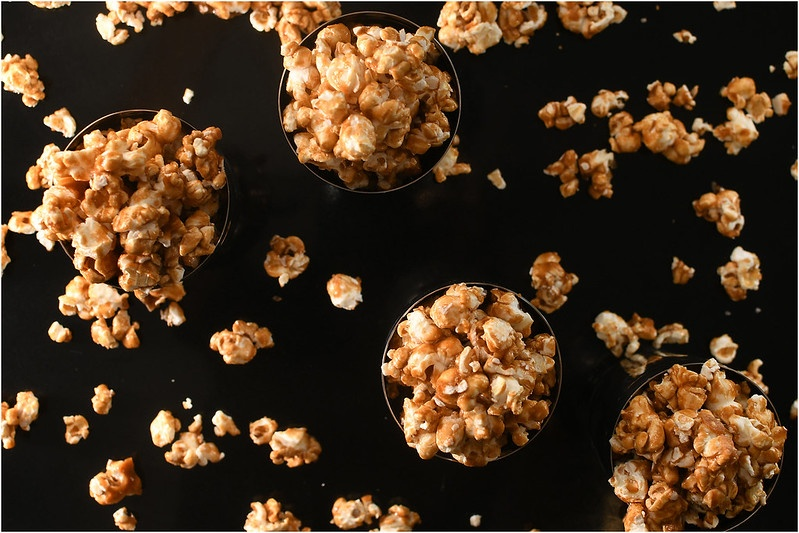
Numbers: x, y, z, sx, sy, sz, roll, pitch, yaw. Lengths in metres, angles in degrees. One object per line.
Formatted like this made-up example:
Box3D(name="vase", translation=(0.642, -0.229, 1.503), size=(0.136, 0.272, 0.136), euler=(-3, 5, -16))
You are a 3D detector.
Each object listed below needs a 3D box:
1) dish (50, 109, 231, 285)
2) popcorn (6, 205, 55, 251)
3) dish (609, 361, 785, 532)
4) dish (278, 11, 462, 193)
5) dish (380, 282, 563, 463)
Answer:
Box3D(name="dish", translation=(-0.577, -0.190, 2.104), size=(0.380, 0.268, 0.394), euler=(3, 80, 2))
Box3D(name="popcorn", translation=(-0.857, -0.090, 2.127), size=(0.107, 0.034, 0.126), euler=(-4, 94, -11))
Box3D(name="dish", translation=(0.673, 0.366, 2.167), size=(0.336, 0.209, 0.396), euler=(30, 99, 3))
Box3D(name="dish", translation=(-0.067, -0.364, 2.056), size=(0.401, 0.259, 0.382), euler=(-26, 80, -3))
Box3D(name="dish", translation=(0.159, 0.230, 2.025), size=(0.399, 0.155, 0.387), euler=(-27, 80, -3))
